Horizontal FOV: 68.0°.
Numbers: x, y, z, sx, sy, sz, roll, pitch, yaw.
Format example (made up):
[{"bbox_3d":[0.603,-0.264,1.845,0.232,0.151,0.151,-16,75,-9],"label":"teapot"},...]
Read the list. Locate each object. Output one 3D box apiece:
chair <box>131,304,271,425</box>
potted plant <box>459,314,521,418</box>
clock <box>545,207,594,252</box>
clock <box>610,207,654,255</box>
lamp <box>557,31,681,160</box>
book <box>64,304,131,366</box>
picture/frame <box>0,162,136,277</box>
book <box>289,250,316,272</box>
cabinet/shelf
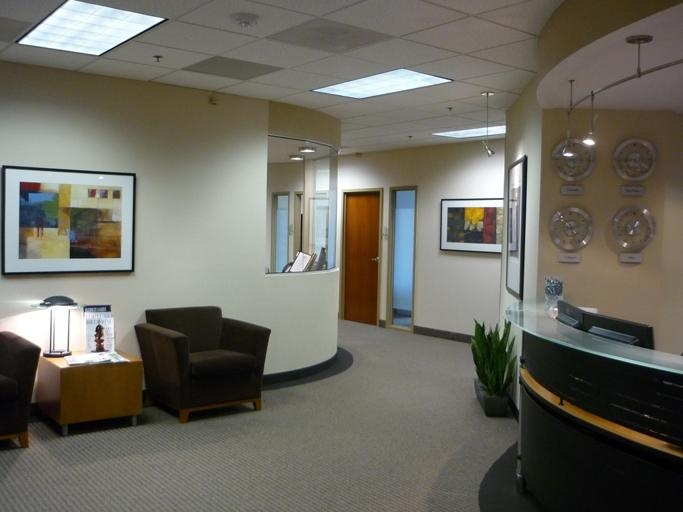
[{"bbox_3d":[-1.585,1.057,5.456,1.235,1.148,1.041,3,-1,-40],"label":"chair"},{"bbox_3d":[1.722,1.189,5.539,0.505,0.961,0.665,2,4,18],"label":"potted plant"},{"bbox_3d":[2.121,-0.226,4.530,0.394,0.405,0.078,1,4,-5],"label":"clock"},{"bbox_3d":[2.697,-0.224,4.525,0.395,0.410,0.077,1,4,-7],"label":"clock"},{"bbox_3d":[2.130,-1.097,3.816,0.667,0.561,1.578,2,4,10],"label":"lamp"},{"bbox_3d":[-2.503,0.743,4.942,0.480,0.558,0.530,1,-1,-24],"label":"book"},{"bbox_3d":[-2.940,-0.372,5.107,1.099,1.022,0.049,0,3,-30],"label":"picture/frame"},{"bbox_3d":[-0.541,0.093,6.382,0.243,0.266,0.067,20,1,-40],"label":"book"},{"bbox_3d":[-2.455,1.193,4.813,0.718,0.592,0.725,1,3,-22],"label":"cabinet/shelf"}]
